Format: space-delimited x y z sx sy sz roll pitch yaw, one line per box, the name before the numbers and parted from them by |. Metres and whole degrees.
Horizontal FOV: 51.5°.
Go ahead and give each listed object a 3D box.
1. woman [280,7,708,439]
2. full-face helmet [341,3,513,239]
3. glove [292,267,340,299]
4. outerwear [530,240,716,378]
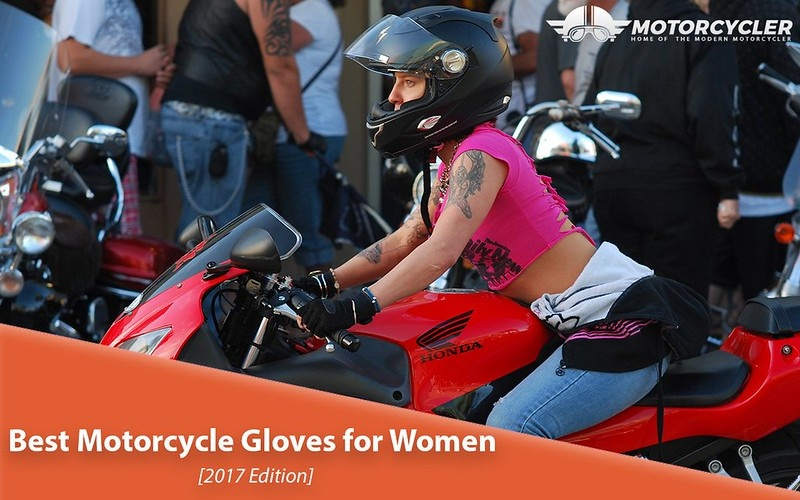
woman | 0.456 -0.136 4.336 1.814 2.759 1.169 -1 1 -2
full-face helmet | 0.054 -0.601 3.436 0.647 0.769 0.570 2 2 -9
glove | -0.334 0.135 3.291 0.129 0.063 0.110 6 25 2
outerwear | 0.891 0.244 3.341 0.671 0.350 0.585 -5 22 -13
